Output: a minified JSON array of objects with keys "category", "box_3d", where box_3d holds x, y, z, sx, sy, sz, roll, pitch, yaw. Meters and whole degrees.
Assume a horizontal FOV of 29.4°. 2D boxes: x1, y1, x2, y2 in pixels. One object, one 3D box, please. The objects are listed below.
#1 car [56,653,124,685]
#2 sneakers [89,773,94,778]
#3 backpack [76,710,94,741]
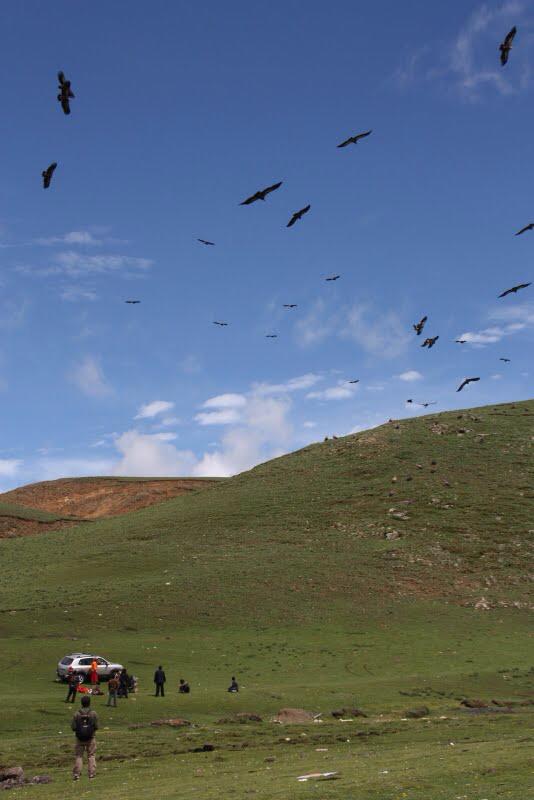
[{"category":"car","box_3d":[-7.104,10.448,39.951,2.825,1.000,1.414,3,-11,-25]},{"category":"sneakers","box_3d":[-4.541,9.764,26.442,0.138,0.092,0.222,0,-3,-4]},{"category":"backpack","box_3d":[-4.756,8.578,26.676,0.556,0.757,0.240,0,-3,-12]}]
